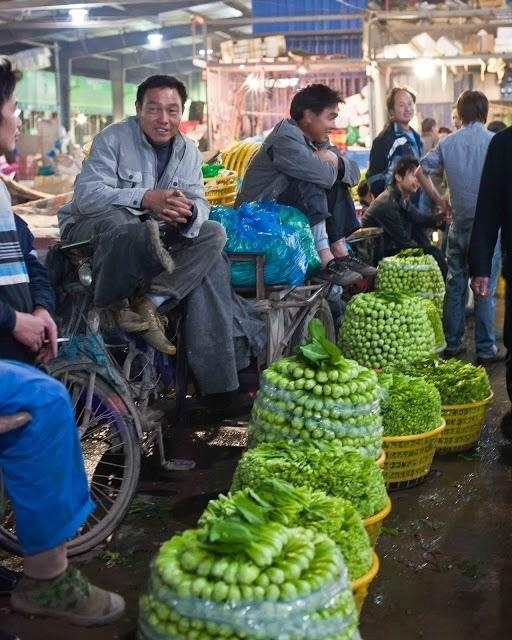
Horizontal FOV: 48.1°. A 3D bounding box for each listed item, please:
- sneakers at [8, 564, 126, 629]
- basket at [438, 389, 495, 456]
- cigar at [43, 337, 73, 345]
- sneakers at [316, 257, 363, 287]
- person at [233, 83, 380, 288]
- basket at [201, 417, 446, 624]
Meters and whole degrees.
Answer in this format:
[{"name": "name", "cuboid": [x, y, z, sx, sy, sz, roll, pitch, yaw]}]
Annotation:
[{"name": "sneakers", "cuboid": [-0.481, 0.795, 1.664, 0.394, 0.145, 0.157, 9, 2, -15]}, {"name": "basket", "cuboid": [1.088, 0.554, 3.149, 0.389, 0.199, 0.345, -3, 5, -2]}, {"name": "cigar", "cuboid": [-0.707, 0.077, 2.088, 0.030, 0.022, 0.125, 0, 6, 15]}, {"name": "sneakers", "cuboid": [0.609, -0.369, 4.360, 0.393, 0.136, 0.149, 15, 40, 37]}, {"name": "person", "cuboid": [0.402, -1.049, 4.418, 1.008, 1.546, 0.621, 0, 7, 1]}, {"name": "basket", "cuboid": [0.239, 0.562, 1.630, 0.730, 0.387, 0.670, 0, 0, 2]}]
